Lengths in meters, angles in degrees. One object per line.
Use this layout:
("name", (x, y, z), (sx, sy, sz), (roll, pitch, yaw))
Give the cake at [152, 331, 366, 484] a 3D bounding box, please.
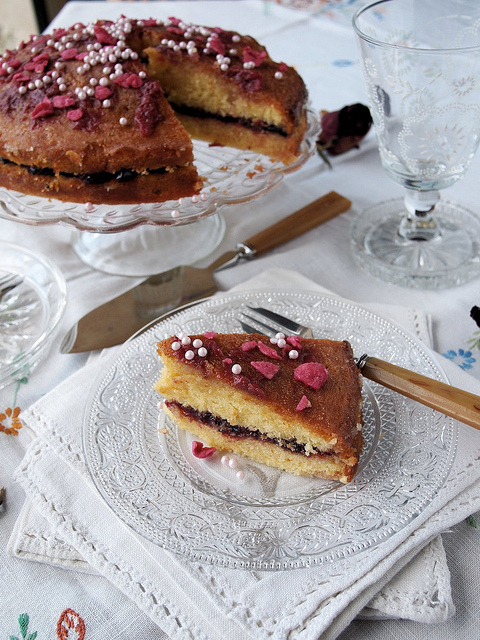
("cake", (0.041, 0.122, 1.062), (0.362, 0.172, 0.224), (9, 40, 21))
